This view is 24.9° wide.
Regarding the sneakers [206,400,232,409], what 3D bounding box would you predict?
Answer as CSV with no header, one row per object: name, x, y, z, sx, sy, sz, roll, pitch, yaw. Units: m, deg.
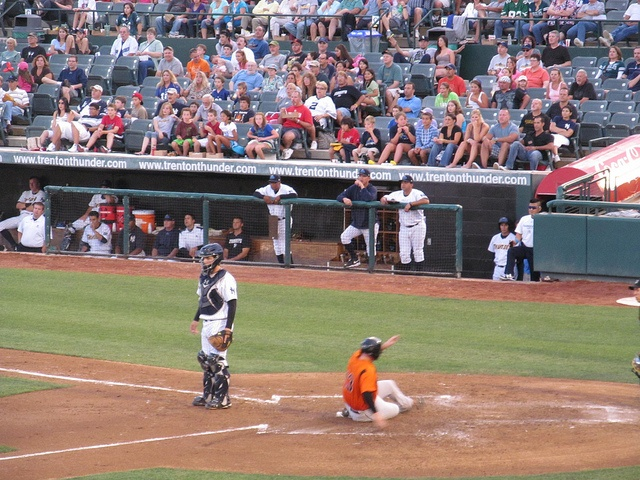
sneakers,-1.543,2.507,22.132,0.392,0.137,0.128,4,-1,-13

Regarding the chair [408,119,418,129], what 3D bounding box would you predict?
chair,1.947,-2.468,30.446,0.235,0.260,0.241,0,0,6

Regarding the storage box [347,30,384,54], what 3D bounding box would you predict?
storage box,1.089,-4.670,34.391,0.980,0.689,0.630,1,5,8

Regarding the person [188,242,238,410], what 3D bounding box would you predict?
person,-1.624,1.314,22.134,0.683,2.458,0.693,-1,12,-5

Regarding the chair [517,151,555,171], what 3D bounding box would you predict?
chair,4.279,-1.575,29.187,0.528,0.554,0.490,3,-2,-39

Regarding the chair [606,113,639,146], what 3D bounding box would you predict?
chair,6.096,-2.333,29.460,0.563,0.646,0.619,3,1,35

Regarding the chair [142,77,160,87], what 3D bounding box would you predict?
chair,-3.995,-3.762,34.434,0.335,0.335,0.311,1,0,-4

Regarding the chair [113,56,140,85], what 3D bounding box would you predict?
chair,-4.625,-4.083,34.676,0.693,0.739,0.734,2,3,4

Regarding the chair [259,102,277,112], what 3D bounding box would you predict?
chair,-1.140,-2.942,32.001,0.289,0.311,0.276,1,5,6

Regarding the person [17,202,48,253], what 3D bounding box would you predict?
person,-6.325,-0.289,31.866,0.753,1.102,0.453,1,11,8

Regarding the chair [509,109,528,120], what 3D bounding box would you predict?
chair,4.056,-2.580,29.900,0.273,0.291,0.273,1,0,13

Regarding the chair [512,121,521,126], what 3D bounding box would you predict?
chair,4.002,-2.419,29.767,0.223,0.121,0.107,0,-4,0

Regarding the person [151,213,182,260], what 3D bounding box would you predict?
person,-3.276,-0.086,30.749,0.601,0.877,0.291,1,11,6

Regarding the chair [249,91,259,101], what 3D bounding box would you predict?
chair,-1.481,-3.245,32.575,0.226,0.195,0.327,-1,10,-6

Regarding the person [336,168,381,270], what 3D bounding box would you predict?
person,0.761,-0.428,29.322,0.826,2.017,0.456,1,12,6

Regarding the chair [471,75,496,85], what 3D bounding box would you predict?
chair,3.662,-3.546,32.318,0.368,0.348,0.297,2,2,12

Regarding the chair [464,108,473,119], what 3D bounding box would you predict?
chair,3.068,-2.662,30.453,0.182,0.221,0.356,1,10,5

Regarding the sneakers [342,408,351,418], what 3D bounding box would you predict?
sneakers,0.384,2.598,21.853,0.079,0.088,0.185,1,3,-5

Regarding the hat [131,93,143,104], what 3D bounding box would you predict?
hat,-4.087,-3.184,32.476,0.231,0.206,0.274,3,4,-3

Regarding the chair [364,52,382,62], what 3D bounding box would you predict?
chair,1.219,-4.211,33.410,0.259,0.209,0.482,-8,12,-37

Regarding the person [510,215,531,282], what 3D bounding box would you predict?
person,3.963,0.159,28.436,0.319,1.312,0.689,1,11,7

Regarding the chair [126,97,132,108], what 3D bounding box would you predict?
chair,-4.424,-3.184,33.667,0.224,0.226,0.217,0,-5,-4

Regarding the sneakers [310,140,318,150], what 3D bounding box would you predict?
sneakers,-0.144,-2.063,31.211,0.166,0.206,0.220,-1,10,-3

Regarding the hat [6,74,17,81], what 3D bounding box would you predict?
hat,-7.128,-3.749,33.696,0.204,0.149,0.388,-2,10,-11

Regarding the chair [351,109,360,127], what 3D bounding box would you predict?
chair,0.764,-2.649,31.373,0.194,0.376,0.357,2,11,10

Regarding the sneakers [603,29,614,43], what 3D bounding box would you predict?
sneakers,6.345,-4.502,32.155,0.137,0.296,0.215,-30,3,40

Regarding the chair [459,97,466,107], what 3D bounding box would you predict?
chair,3.048,-2.984,31.187,0.160,0.208,0.451,1,9,5

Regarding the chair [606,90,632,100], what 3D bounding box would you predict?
chair,6.169,-3.013,30.125,0.330,0.311,0.276,0,6,16

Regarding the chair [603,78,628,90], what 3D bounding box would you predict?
chair,6.179,-3.284,30.549,0.361,0.275,0.349,-3,-36,21

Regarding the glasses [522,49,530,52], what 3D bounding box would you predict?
glasses,4.413,-4.110,31.316,0.094,0.038,0.121,-4,-17,25

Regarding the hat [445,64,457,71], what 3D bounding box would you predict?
hat,2.830,-3.737,31.262,0.269,0.123,0.174,25,-16,-40

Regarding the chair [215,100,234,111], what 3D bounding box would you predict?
chair,-2.113,-3.004,32.238,0.311,0.329,0.291,0,4,4

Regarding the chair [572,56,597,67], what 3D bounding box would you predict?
chair,5.803,-3.949,32.097,0.385,0.361,0.329,3,7,23

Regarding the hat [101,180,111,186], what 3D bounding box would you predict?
hat,-4.928,-1.301,33.325,0.144,0.120,0.132,2,-1,16

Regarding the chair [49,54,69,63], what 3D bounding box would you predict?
chair,-6.442,-4.474,35.653,0.333,0.305,0.282,0,6,-5

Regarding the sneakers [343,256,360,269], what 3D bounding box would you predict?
sneakers,0.655,0.464,29.515,0.416,0.164,0.146,-5,-11,28

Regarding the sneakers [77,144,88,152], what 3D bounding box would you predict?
sneakers,-5.296,-2.060,32.408,0.206,0.140,0.345,-2,10,-14

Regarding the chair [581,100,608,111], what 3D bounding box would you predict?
chair,5.583,-2.760,29.797,0.554,0.235,0.296,1,10,9

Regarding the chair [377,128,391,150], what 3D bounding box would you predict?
chair,1.334,-2.148,30.501,0.383,0.398,0.374,3,8,20

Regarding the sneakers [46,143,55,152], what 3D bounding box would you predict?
sneakers,-6.040,-2.099,32.621,0.209,0.175,0.450,-2,9,-10

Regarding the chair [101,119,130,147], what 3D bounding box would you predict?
chair,-4.541,-2.453,32.286,0.606,0.608,0.560,0,7,33

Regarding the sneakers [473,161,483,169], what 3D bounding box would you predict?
sneakers,3.139,-1.504,29.349,0.259,0.092,0.087,32,-10,-30

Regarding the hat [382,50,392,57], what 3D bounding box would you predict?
hat,1.459,-4.142,31.892,0.235,0.111,0.299,1,5,2

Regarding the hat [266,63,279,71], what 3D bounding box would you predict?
hat,-1.091,-3.968,33.239,0.347,0.138,0.481,3,3,-1

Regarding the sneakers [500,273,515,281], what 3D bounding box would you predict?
sneakers,3.660,0.735,28.518,0.281,0.106,0.110,5,2,14
